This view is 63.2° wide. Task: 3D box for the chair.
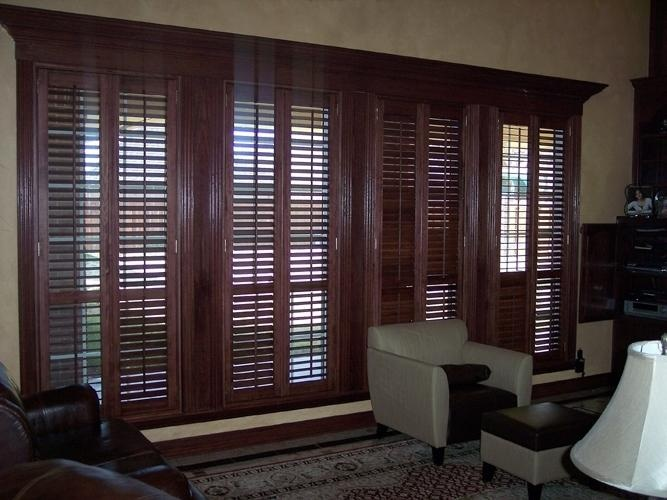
[{"bbox_3d":[0.864,1.040,4.124,0.881,0.868,1.032,-2,4,-35],"label":"chair"}]
